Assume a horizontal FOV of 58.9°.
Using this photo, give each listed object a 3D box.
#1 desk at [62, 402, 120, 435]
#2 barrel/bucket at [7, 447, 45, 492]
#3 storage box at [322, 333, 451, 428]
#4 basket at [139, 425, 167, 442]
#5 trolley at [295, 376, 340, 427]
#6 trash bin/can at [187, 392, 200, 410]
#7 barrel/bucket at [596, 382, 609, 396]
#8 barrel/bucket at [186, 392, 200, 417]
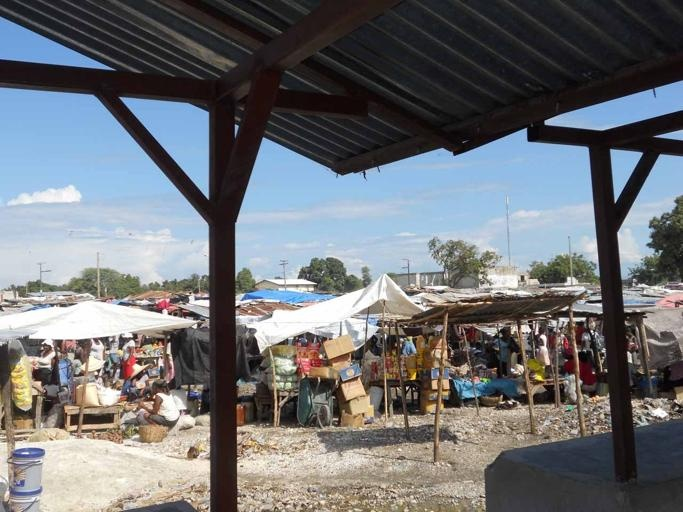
[{"bbox_3d":[-4.971,3.267,12.158,0.730,0.370,0.707,1,-4,-6],"label":"desk"},{"bbox_3d":[-3.807,2.542,7.285,0.498,0.511,0.479,0,-11,0],"label":"barrel/bucket"},{"bbox_3d":[0.723,2.792,14.142,2.112,2.975,2.165,9,-16,-41],"label":"storage box"},{"bbox_3d":[-3.584,3.325,11.451,0.353,0.213,0.348,10,-16,-41],"label":"basket"},{"bbox_3d":[-0.465,2.952,13.550,0.866,0.543,1.547,14,2,-13],"label":"trolley"},{"bbox_3d":[-3.474,3.414,14.313,0.292,0.290,0.292,3,-7,-28],"label":"trash bin/can"},{"bbox_3d":[6.712,3.450,15.649,0.285,0.224,0.321,-4,-4,9],"label":"barrel/bucket"},{"bbox_3d":[-3.437,3.466,14.252,0.369,0.577,0.366,0,0,0],"label":"barrel/bucket"}]
